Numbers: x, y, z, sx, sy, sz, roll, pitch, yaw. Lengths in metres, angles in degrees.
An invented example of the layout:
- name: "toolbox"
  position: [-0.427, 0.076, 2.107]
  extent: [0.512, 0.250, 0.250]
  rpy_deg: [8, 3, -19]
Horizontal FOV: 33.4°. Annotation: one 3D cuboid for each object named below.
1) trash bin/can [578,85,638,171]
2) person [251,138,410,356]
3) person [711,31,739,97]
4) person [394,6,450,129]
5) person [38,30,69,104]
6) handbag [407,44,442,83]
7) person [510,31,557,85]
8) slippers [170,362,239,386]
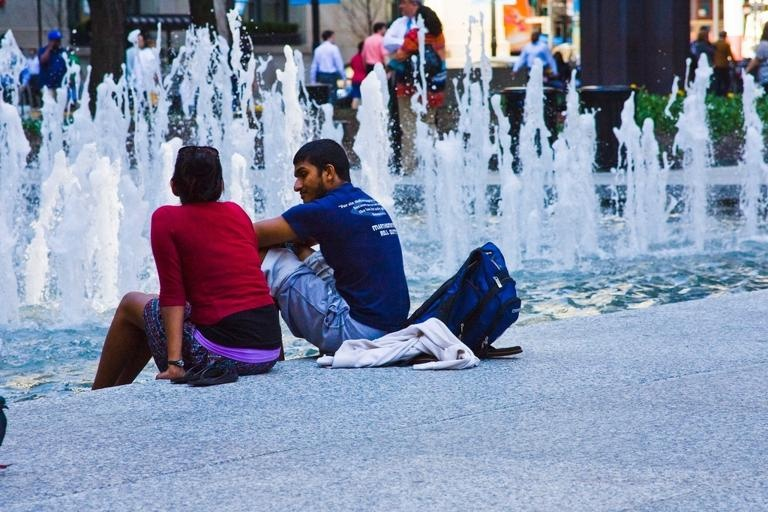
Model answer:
- name: "trash bin/can"
  position: [2.874, -1.669, 16.646]
  extent: [0.636, 1.073, 0.766]
  rpy_deg: [-2, 3, 3]
- name: "person"
  position: [-0.424, -0.115, 8.744]
  extent: [1.378, 1.422, 1.051]
  rpy_deg: [12, 16, 36]
- name: "person"
  position: [6.139, -3.517, 23.092]
  extent: [0.381, 1.223, 1.517]
  rpy_deg: [-2, 3, 15]
- name: "person"
  position: [0.457, -2.599, 17.069]
  extent: [0.724, 1.553, 1.248]
  rpy_deg: [-2, 3, 2]
- name: "person"
  position: [-5.332, -3.158, 20.407]
  extent: [0.428, 1.098, 1.817]
  rpy_deg: [-3, 3, -15]
- name: "handbag"
  position: [0.618, -2.582, 17.077]
  extent: [0.380, 0.496, 0.194]
  rpy_deg: [-10, 32, 7]
- name: "person"
  position: [2.366, -3.212, 20.131]
  extent: [0.666, 0.848, 1.075]
  rpy_deg: [-2, 3, 13]
- name: "slippers"
  position: [-1.099, 0.721, 7.969]
  extent: [0.294, 0.092, 0.168]
  rpy_deg: [-1, -3, -21]
